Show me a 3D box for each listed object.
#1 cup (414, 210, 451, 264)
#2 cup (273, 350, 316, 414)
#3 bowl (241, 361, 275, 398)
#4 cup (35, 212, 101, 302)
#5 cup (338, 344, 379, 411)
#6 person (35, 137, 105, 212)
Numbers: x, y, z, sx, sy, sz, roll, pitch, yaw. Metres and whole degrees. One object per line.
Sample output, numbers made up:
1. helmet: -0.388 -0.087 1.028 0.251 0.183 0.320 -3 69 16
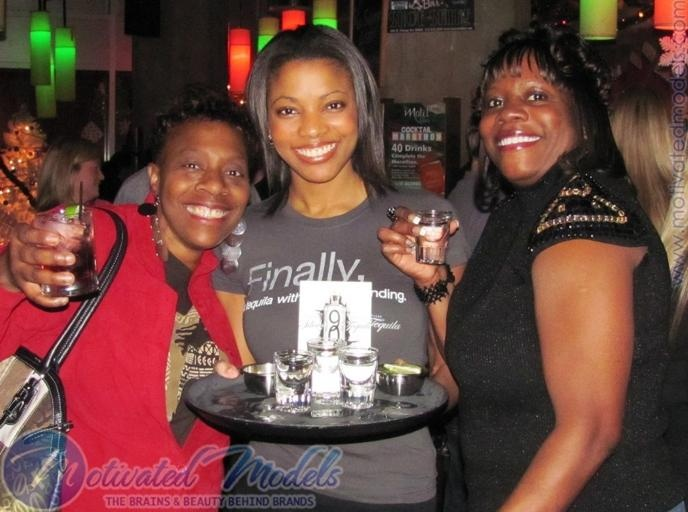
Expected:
1. cup: 0.353 -0.074 2.422 0.217 0.216 0.194 1 -1 -6
2. cup: -0.181 0.472 2.269 0.161 0.209 0.157 -3 18 1
3. bowl: -0.333 0.487 2.370 0.132 0.068 0.125 0 -7 0
4. cup: -0.978 -0.014 2.147 0.199 0.302 0.325 -10 19 -19
5. cup: 0.060 0.464 2.298 0.142 0.218 0.197 -4 18 -2
6. person: -2.607 -0.764 5.750 0.617 0.732 0.497 -1 -1 -38
